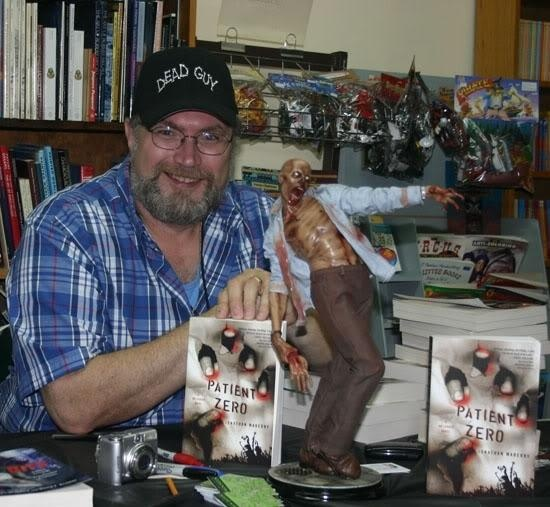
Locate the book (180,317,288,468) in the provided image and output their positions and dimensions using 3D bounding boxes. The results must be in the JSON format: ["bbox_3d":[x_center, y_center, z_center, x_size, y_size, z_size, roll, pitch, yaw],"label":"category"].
[{"bbox_3d":[-0.056,0.200,0.761,0.207,0.276,0.029,1,-3,20],"label":"book"}]

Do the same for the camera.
[{"bbox_3d":[-0.185,0.265,0.702,0.048,0.059,0.081,-5,-11,28],"label":"camera"}]

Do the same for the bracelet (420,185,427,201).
[{"bbox_3d":[0.202,-0.083,0.726,0.010,0.015,0.005,1,1,12],"label":"bracelet"}]

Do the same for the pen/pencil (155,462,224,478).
[{"bbox_3d":[-0.114,0.287,0.710,0.088,0.018,0.016,1,-25,19],"label":"pen/pencil"}]

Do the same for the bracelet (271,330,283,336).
[{"bbox_3d":[0.004,0.106,0.719,0.012,0.006,0.004,-15,-40,23],"label":"bracelet"}]
